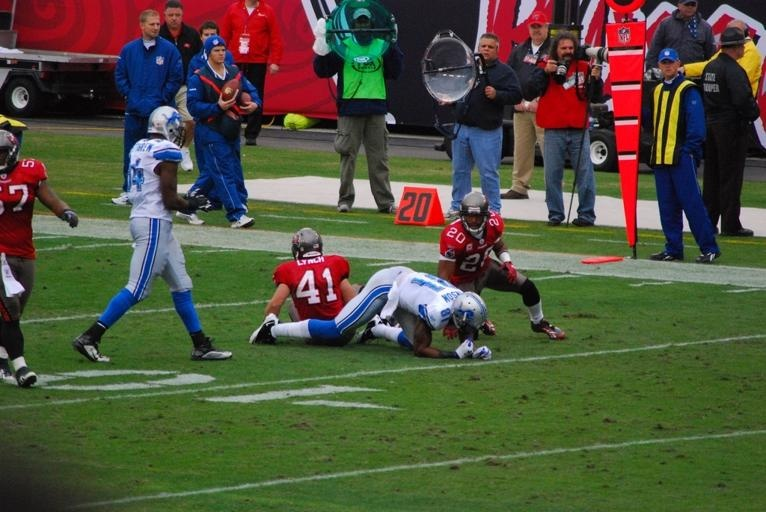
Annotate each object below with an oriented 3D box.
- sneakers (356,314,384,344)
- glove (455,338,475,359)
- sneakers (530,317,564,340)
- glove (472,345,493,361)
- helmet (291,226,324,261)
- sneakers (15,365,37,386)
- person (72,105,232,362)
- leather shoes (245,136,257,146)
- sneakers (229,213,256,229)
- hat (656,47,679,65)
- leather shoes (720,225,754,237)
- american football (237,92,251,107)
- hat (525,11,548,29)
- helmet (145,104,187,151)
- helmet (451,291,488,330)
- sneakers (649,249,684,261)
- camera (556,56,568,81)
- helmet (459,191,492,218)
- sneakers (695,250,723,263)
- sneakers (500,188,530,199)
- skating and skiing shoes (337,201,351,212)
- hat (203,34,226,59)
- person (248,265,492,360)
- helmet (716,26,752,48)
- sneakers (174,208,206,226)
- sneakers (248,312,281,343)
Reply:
[{"bbox_3d":[-0.114,0.717,12.036,0.189,0.372,0.131,10,-24,7],"label":"sneakers"},{"bbox_3d":[0.760,0.843,11.543,0.213,0.123,0.113,-39,-32,18],"label":"glove"},{"bbox_3d":[1.576,0.697,12.118,0.414,0.127,0.169,18,-28,17],"label":"sneakers"},{"bbox_3d":[0.920,0.871,11.512,0.164,0.070,0.117,-4,11,25],"label":"glove"},{"bbox_3d":[-0.697,-0.137,11.969,0.270,0.247,0.323,-6,9,-19],"label":"helmet"},{"bbox_3d":[-2.912,0.999,10.511,0.167,0.173,0.194,-1,6,-15],"label":"sneakers"},{"bbox_3d":[-2.029,-0.216,11.353,1.282,2.245,0.839,0,6,-7],"label":"person"},{"bbox_3d":[-2.691,-2.389,26.276,0.212,0.126,0.154,-1,8,-2],"label":"leather shoes"},{"bbox_3d":[-1.806,-0.464,16.572,0.372,0.128,0.158,-10,-35,30],"label":"sneakers"},{"bbox_3d":[3.433,-2.456,15.328,0.259,0.172,0.362,-3,-3,24],"label":"hat"},{"bbox_3d":[4.767,-0.346,17.201,0.447,0.152,0.148,-1,6,3],"label":"leather shoes"},{"bbox_3d":[-1.756,-2.068,16.503,0.186,0.117,0.167,2,3,24],"label":"american football"},{"bbox_3d":[2.394,-3.669,19.538,0.263,0.264,0.636,1,6,5],"label":"hat"},{"bbox_3d":[-1.929,-1.233,11.628,0.419,0.344,0.310,-20,33,-39],"label":"helmet"},{"bbox_3d":[0.761,0.471,11.362,0.377,0.273,0.258,19,12,6],"label":"helmet"},{"bbox_3d":[3.454,-0.023,15.493,0.414,0.133,0.138,4,2,9],"label":"sneakers"},{"bbox_3d":[2.395,-2.511,17.026,0.165,0.273,0.190,2,6,6],"label":"camera"},{"bbox_3d":[0.873,-0.496,11.952,0.223,0.189,0.249,3,20,4],"label":"helmet"},{"bbox_3d":[3.922,-0.005,15.345,0.116,0.133,0.348,-6,3,44],"label":"sneakers"},{"bbox_3d":[2.106,-1.012,20.194,0.484,0.165,0.159,4,8,5],"label":"sneakers"},{"bbox_3d":[-0.529,-0.721,18.194,0.172,0.155,0.385,-2,-1,-4],"label":"skating and skiing shoes"},{"bbox_3d":[-2.100,-2.750,16.422,0.343,0.265,0.260,1,8,45],"label":"hat"},{"bbox_3d":[-0.068,0.484,11.631,1.910,0.637,0.955,8,15,25],"label":"person"},{"bbox_3d":[4.582,-2.890,16.664,0.325,0.279,0.358,3,6,14],"label":"helmet"},{"bbox_3d":[-2.560,-0.523,16.976,0.432,0.179,0.147,16,49,6],"label":"sneakers"},{"bbox_3d":[-1.052,0.688,11.777,0.185,0.142,0.409,-26,-12,-43],"label":"sneakers"}]
